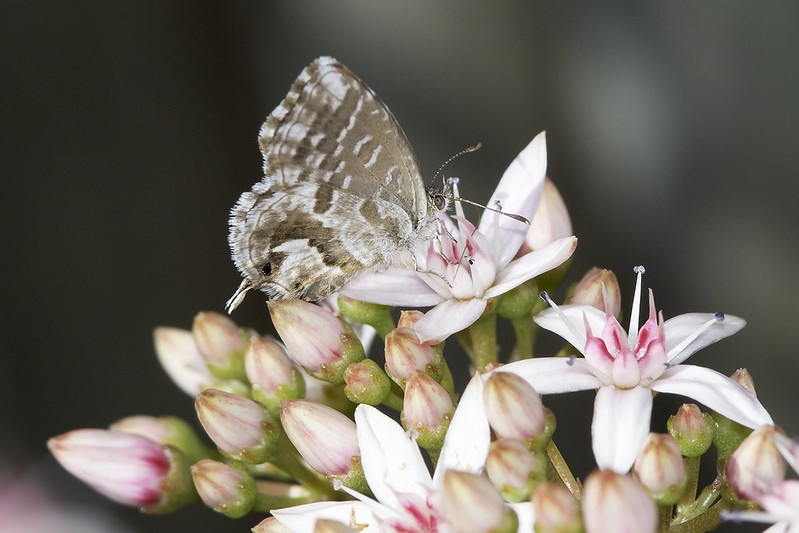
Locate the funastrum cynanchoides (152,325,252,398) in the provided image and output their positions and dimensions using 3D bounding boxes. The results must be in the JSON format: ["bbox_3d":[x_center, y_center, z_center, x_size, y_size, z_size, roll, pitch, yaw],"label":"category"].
[{"bbox_3d":[-0.959,0.499,3.993,0.265,0.504,0.160,-34,-10,16],"label":"funastrum cynanchoides"}]

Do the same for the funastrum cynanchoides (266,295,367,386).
[{"bbox_3d":[-0.361,0.350,3.582,0.163,0.396,0.257,-40,19,55],"label":"funastrum cynanchoides"}]

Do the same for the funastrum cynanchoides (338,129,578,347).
[{"bbox_3d":[0.346,-0.027,3.509,0.920,0.426,0.833,-41,31,-12],"label":"funastrum cynanchoides"}]

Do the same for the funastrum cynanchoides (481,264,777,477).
[{"bbox_3d":[0.891,0.398,3.164,0.830,0.329,0.839,-27,40,-21],"label":"funastrum cynanchoides"}]

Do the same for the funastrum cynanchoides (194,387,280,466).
[{"bbox_3d":[-0.680,0.660,3.479,0.254,0.341,0.114,-61,21,-13],"label":"funastrum cynanchoides"}]

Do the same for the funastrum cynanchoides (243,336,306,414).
[{"bbox_3d":[-0.550,0.475,3.692,0.192,0.344,0.116,-36,4,-6],"label":"funastrum cynanchoides"}]
